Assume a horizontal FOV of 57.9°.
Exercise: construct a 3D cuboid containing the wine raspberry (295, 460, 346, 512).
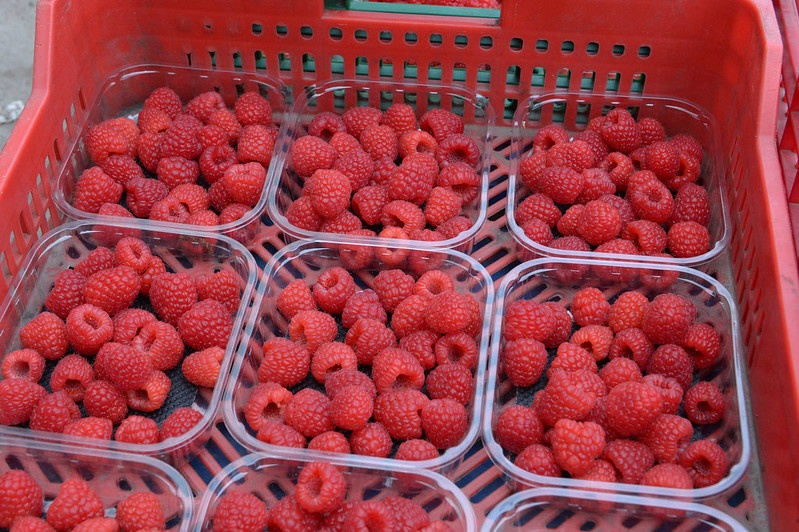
[{"bbox_3d":[-0.191,0.531,1.732,0.120,0.103,0.095,-2,49,-4],"label":"wine raspberry"}]
